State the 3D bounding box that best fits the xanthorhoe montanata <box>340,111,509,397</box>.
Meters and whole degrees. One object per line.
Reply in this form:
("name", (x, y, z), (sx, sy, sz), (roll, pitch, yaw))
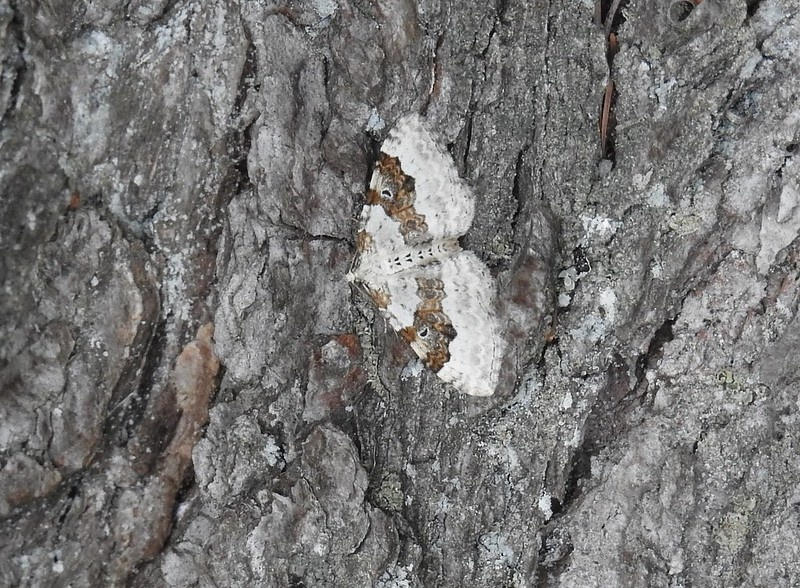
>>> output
("xanthorhoe montanata", (0.137, -0.098, 4.522), (0.683, 0.121, 1.798), (-9, 92, 6))
